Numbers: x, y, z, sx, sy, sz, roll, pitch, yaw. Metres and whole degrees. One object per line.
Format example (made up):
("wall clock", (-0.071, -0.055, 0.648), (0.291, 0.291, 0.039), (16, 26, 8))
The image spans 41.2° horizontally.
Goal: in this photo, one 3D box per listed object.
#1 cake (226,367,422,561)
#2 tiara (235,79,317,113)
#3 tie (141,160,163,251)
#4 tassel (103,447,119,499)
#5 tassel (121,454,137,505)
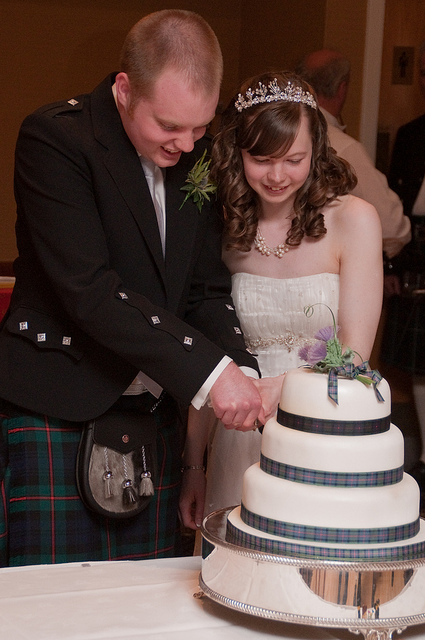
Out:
("cake", (0.171, 0.181, 0.873), (0.269, 0.172, 0.272), (3, 1, -2))
("tiara", (0.176, -0.637, 1.611), (0.230, 0.084, 0.077), (-6, -8, 7))
("tie", (-0.161, -0.293, 1.503), (0.033, 0.253, 0.033), (-4, 6, -3))
("tassel", (-0.256, 0.378, 1.402), (0.021, 0.124, 0.038), (-8, -9, 21))
("tassel", (-0.210, 0.399, 1.416), (0.041, 0.122, 0.033), (-2, -9, -22))
